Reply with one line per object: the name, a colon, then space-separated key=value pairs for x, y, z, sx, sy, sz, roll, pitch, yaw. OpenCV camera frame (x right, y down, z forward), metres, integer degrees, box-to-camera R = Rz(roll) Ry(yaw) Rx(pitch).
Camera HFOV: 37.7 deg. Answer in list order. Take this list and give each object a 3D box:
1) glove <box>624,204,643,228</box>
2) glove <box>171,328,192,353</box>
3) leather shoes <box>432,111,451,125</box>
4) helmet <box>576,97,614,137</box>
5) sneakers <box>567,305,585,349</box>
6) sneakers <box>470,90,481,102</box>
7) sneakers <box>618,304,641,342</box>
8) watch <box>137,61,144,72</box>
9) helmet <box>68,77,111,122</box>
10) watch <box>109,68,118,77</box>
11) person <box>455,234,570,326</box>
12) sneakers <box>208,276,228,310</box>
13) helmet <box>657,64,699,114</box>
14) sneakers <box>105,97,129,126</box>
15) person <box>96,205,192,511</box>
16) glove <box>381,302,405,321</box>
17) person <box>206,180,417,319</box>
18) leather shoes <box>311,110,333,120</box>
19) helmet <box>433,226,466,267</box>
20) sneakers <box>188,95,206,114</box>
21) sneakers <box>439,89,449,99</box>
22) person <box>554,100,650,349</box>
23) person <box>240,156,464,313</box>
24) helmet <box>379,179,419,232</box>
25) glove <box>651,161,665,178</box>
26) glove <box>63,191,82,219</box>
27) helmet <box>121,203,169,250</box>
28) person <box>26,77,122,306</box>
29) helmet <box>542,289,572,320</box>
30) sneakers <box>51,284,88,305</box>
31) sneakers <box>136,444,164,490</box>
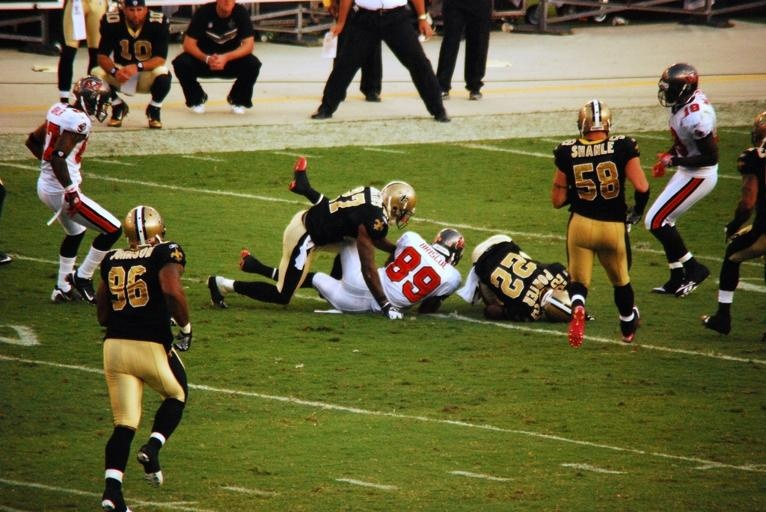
glove: x=2.444 y=-0.405 z=10.930 sx=0.254 sy=0.090 sz=0.191 roll=-35 pitch=-4 yaw=26
glove: x=-1.696 y=0.707 z=9.492 sx=0.238 sy=0.153 sz=0.486 roll=5 pitch=-7 yaw=-14
leather shoes: x=0.886 y=-2.097 z=17.092 sx=0.255 sy=0.100 sz=0.133 roll=7 pitch=26 yaw=40
helmet: x=2.049 y=-1.331 z=10.905 sx=0.370 sy=0.356 sz=0.455 roll=-1 pitch=14 yaw=10
sneakers: x=1.809 y=0.650 z=10.479 sx=0.162 sy=0.410 sz=0.200 roll=2 pitch=-3 yaw=13
sneakers: x=1.503 y=-2.644 z=18.554 sx=0.178 sy=0.094 sz=0.241 roll=-2 pitch=9 yaw=1
sneakers: x=2.395 y=0.654 z=10.880 sx=0.142 sy=0.401 sz=0.178 roll=-6 pitch=-28 yaw=43
watch: x=-3.452 y=-2.677 z=15.932 sx=0.089 sy=0.104 sz=0.107 roll=19 pitch=11 yaw=22
helmet: x=-2.950 y=-1.585 z=11.420 sx=0.441 sy=0.362 sz=0.337 roll=15 pitch=-1 yaw=6
watch: x=-3.804 y=-2.576 z=15.802 sx=0.084 sy=0.105 sz=0.059 roll=-13 pitch=-5 yaw=16
person: x=1.344 y=0.282 z=11.398 sx=1.145 sy=0.700 sz=0.443 roll=31 pitch=-3 yaw=4
sneakers: x=-1.675 y=0.368 z=11.330 sx=0.180 sy=0.282 sz=0.205 roll=-23 pitch=31 yaw=-9
helmet: x=3.075 y=-1.789 z=11.724 sx=0.466 sy=0.416 sz=0.355 roll=-18 pitch=32 yaw=-6
sneakers: x=-3.918 y=-2.117 z=16.403 sx=0.206 sy=0.238 sz=0.568 roll=7 pitch=45 yaw=3
person: x=-1.902 y=0.775 z=8.966 sx=0.739 sy=2.266 sz=1.089 roll=-1 pitch=9 yaw=-14
glove: x=0.083 y=0.551 z=11.315 sx=0.225 sy=0.132 sz=0.104 roll=29 pitch=9 yaw=15
person: x=-0.656 y=-0.073 z=11.332 sx=2.230 sy=1.121 sz=1.220 roll=-3 pitch=20 yaw=-23
leather shoes: x=-0.939 y=-2.150 z=17.147 sx=0.281 sy=0.110 sz=0.138 roll=4 pitch=5 yaw=8
helmet: x=0.683 y=-0.121 z=11.585 sx=0.297 sy=0.331 sz=0.391 roll=28 pitch=-4 yaw=22
sneakers: x=-2.852 y=-2.334 z=17.327 sx=0.207 sy=0.124 sz=0.310 roll=15 pitch=33 yaw=23
sneakers: x=1.003 y=-2.617 z=18.312 sx=0.165 sy=0.192 sz=0.074 roll=-5 pitch=-2 yaw=6
person: x=2.077 y=-0.298 z=10.724 sx=0.895 sy=2.329 sz=0.919 roll=1 pitch=9 yaw=-1
person: x=-0.497 y=-0.160 z=11.541 sx=2.168 sy=1.212 sz=1.072 roll=6 pitch=18 yaw=-6
helmet: x=0.200 y=-0.538 z=11.569 sx=0.471 sy=0.394 sz=0.358 roll=16 pitch=6 yaw=21
glove: x=2.867 y=-0.902 z=11.694 sx=0.104 sy=0.150 sz=0.327 roll=3 pitch=9 yaw=9
glove: x=-3.071 y=-0.510 z=11.066 sx=0.166 sy=0.205 sz=0.079 roll=2 pitch=16 yaw=12
helmet: x=-1.954 y=-0.227 z=9.255 sx=0.295 sy=0.350 sz=0.359 roll=4 pitch=-26 yaw=-2
person: x=-3.111 y=-0.673 z=11.352 sx=0.837 sy=2.246 sz=0.816 roll=-2 pitch=9 yaw=-17
helmet: x=1.709 y=0.497 z=11.306 sx=0.306 sy=0.211 sz=0.265 roll=23 pitch=-14 yaw=15
sneakers: x=-3.203 y=0.402 z=11.365 sx=0.399 sy=0.164 sz=0.136 roll=0 pitch=18 yaw=-18
sneakers: x=-1.797 y=1.622 z=8.734 sx=0.148 sy=0.373 sz=0.188 roll=-20 pitch=15 yaw=-4
